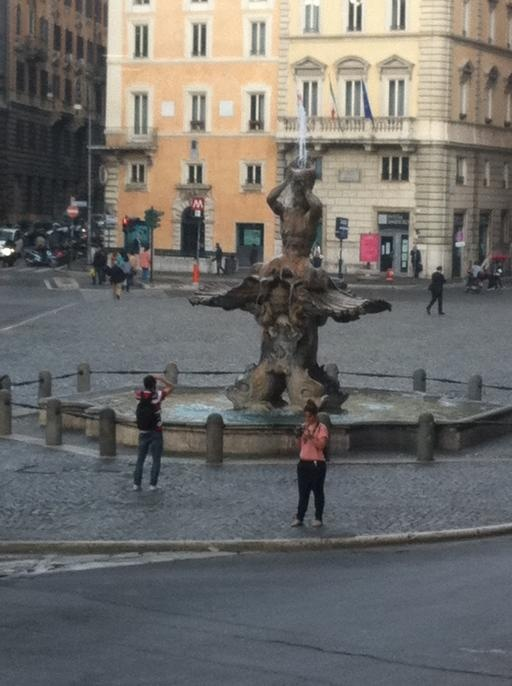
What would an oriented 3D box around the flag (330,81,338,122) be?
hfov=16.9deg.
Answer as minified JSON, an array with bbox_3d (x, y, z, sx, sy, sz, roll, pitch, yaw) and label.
[{"bbox_3d":[2.539,-8.327,58.640,0.311,1.287,0.879,1,5,2],"label":"flag"}]

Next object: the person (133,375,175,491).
[{"bbox_3d":[-1.150,0.893,18.653,0.391,1.283,0.425,-3,12,-13],"label":"person"}]

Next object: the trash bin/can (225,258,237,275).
[{"bbox_3d":[-0.975,-2.707,59.609,0.402,0.988,0.620,3,2,3],"label":"trash bin/can"}]

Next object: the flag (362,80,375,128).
[{"bbox_3d":[3.666,-8.140,57.714,0.401,1.405,1.410,1,6,3],"label":"flag"}]

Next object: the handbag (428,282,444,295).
[{"bbox_3d":[4.029,-1.279,39.486,0.261,0.266,0.409,2,-4,28],"label":"handbag"}]

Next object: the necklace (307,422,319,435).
[{"bbox_3d":[0.541,0.839,17.150,0.112,0.128,0.056,0,5,-10],"label":"necklace"}]

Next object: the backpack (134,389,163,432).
[{"bbox_3d":[-1.172,0.719,18.647,0.330,0.451,0.261,-1,6,-22],"label":"backpack"}]
